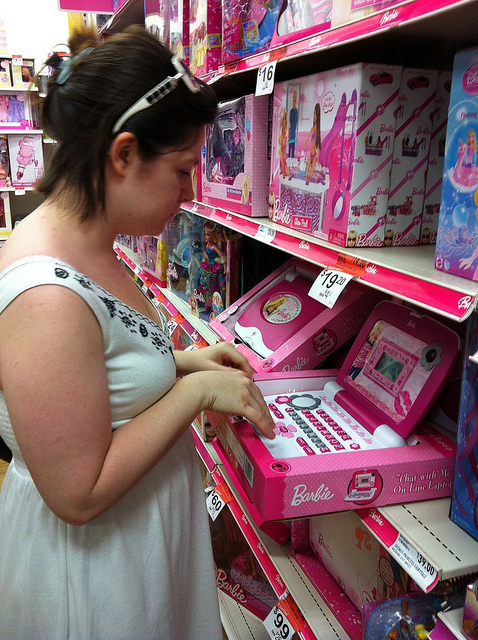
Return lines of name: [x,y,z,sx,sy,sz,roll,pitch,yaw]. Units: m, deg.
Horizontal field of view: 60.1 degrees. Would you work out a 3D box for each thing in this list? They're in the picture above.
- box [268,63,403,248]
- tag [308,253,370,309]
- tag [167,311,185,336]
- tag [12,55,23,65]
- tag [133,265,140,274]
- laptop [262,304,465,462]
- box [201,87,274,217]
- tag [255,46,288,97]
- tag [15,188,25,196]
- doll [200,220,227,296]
box: [0.264,-0.350,1.015,0.181,0.457,0.340,-20,26,-31]
tag: [0.193,-0.089,0.850,0.095,0.100,0.129,-9,25,-17]
tag: [-0.343,0.007,2.240,0.028,0.113,0.110,33,4,-22]
tag: [-2.953,-3.478,5.506,0.126,0.130,0.081,-10,22,-26]
tag: [-0.810,-0.403,3.294,0.013,0.055,0.057,16,29,-43]
laptop: [0.252,0.112,0.929,0.307,0.239,0.320,-8,27,-11]
box: [-0.006,-0.647,1.651,0.143,0.415,0.440,-9,19,-30]
tag: [0.076,-0.658,1.114,0.063,0.129,0.120,-11,26,-18]
tag: [-3.073,-1.811,5.801,0.122,0.096,0.315,-12,24,-28]
doll: [-0.127,-0.311,2.021,0.047,0.319,0.165,-15,26,-30]
